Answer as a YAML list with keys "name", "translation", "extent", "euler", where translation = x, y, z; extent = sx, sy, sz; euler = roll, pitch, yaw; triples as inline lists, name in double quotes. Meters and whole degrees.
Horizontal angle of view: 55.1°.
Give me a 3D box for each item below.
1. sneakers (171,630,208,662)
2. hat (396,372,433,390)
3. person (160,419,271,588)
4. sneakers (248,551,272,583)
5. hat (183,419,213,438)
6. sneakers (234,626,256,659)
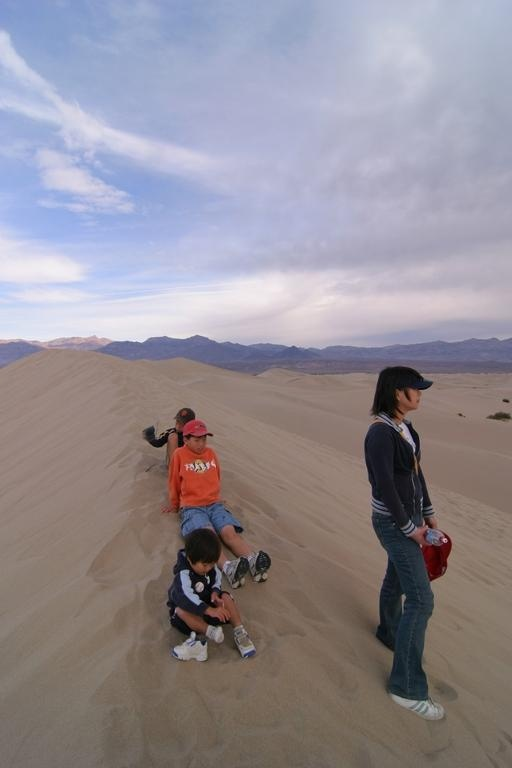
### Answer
- name: "sneakers"
  translation: [-0.379, 1.563, 2.904]
  extent: [0.236, 0.169, 0.095]
  euler: [9, -34, -3]
- name: "hat"
  translation: [1.022, -0.020, 3.101]
  extent: [0.253, 0.120, 0.155]
  euler: [0, 6, 34]
- name: "person"
  translation: [-0.160, 0.952, 4.291]
  extent: [0.603, 0.980, 1.545]
  euler: [-6, 20, -25]
- name: "sneakers"
  translation: [0.032, 1.377, 3.694]
  extent: [0.114, 0.323, 0.145]
  euler: [1, 16, -10]
- name: "hat"
  translation: [-0.540, 0.406, 4.392]
  extent: [0.176, 0.148, 0.269]
  euler: [4, -13, -27]
- name: "sneakers"
  translation: [-0.067, 1.563, 2.962]
  extent: [0.152, 0.106, 0.107]
  euler: [13, 7, 15]
